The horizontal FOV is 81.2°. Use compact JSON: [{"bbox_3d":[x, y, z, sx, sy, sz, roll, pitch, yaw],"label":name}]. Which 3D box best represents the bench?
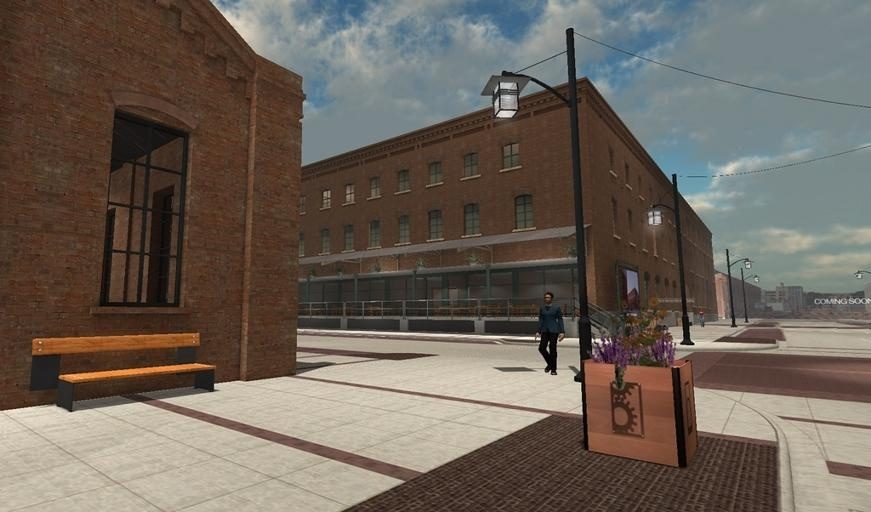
[{"bbox_3d":[-7.192,2.637,12.215,1.376,1.273,3.869,-1,-5,35],"label":"bench"}]
